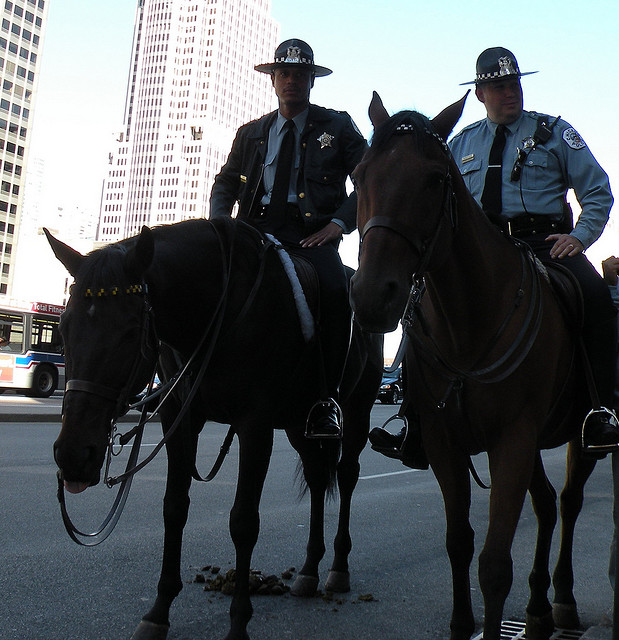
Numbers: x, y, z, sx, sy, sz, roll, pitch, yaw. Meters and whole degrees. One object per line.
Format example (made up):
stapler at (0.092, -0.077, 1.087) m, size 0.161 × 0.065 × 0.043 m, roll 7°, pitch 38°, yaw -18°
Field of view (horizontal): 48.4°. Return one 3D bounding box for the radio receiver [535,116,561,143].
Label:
radio receiver at (1.356, -1.072, 3.855) m, size 0.071 × 0.126 × 0.030 m, roll 43°, pitch -8°, yaw -10°

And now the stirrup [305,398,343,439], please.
stirrup at (0.102, 0.557, 3.807) m, size 0.174 × 0.287 × 0.093 m, roll -5°, pitch 18°, yaw -14°

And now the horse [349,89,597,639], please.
horse at (0.674, 0.245, 2.896) m, size 0.831 × 2.357 × 1.564 m, roll 4°, pitch 3°, yaw 24°

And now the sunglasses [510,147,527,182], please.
sunglasses at (1.189, -0.877, 3.876) m, size 0.094 × 0.164 × 0.047 m, roll -11°, pitch 6°, yaw 14°

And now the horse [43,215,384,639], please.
horse at (-0.588, 0.511, 3.315) m, size 1.456 × 2.104 × 0.773 m, roll 0°, pitch 4°, yaw -43°
